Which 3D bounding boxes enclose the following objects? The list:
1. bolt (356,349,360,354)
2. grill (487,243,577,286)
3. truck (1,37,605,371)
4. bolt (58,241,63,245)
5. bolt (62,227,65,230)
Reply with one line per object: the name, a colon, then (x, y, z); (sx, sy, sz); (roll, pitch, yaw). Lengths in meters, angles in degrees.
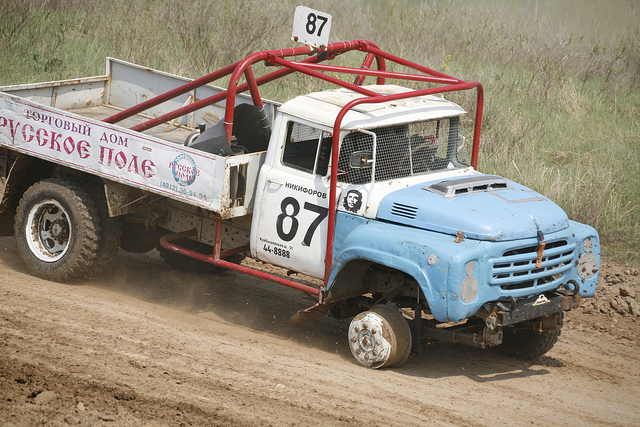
bolt: (0.574, 2.135, 14.386); (0.062, 0.074, 0.013); (17, 22, 23)
grill: (3.202, 0.780, 14.062); (1.646, 0.516, 0.172); (-4, 23, -27)
truck: (-0.432, -0.426, 15.338); (9.625, 4.498, 3.872); (16, 22, 22)
bolt: (-4.396, 0.496, 15.829); (0.096, 0.071, 0.018); (15, 22, 19)
bolt: (-4.312, 0.257, 15.714); (0.036, 0.035, 0.010); (8, 20, 0)
